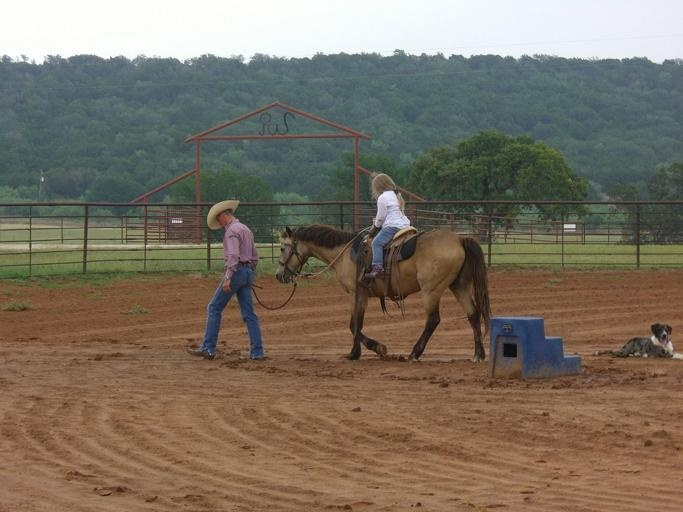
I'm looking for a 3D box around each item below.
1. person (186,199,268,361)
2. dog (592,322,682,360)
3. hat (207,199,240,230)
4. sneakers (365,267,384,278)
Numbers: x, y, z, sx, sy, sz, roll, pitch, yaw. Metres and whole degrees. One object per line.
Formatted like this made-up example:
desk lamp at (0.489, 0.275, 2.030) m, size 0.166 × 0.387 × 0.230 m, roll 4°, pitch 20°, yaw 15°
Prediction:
person at (-1.902, 0.437, 18.269) m, size 1.097 × 2.696 × 1.047 m, roll -2°, pitch 10°, yaw -4°
dog at (4.964, 1.432, 18.207) m, size 1.244 × 0.459 × 0.658 m, roll -4°, pitch -3°, yaw 45°
hat at (-2.131, -0.742, 18.271) m, size 0.144 × 0.517 × 0.524 m, roll 40°, pitch 11°, yaw 13°
sneakers at (0.505, 0.288, 18.269) m, size 0.374 × 0.244 × 0.130 m, roll -2°, pitch -1°, yaw 16°
